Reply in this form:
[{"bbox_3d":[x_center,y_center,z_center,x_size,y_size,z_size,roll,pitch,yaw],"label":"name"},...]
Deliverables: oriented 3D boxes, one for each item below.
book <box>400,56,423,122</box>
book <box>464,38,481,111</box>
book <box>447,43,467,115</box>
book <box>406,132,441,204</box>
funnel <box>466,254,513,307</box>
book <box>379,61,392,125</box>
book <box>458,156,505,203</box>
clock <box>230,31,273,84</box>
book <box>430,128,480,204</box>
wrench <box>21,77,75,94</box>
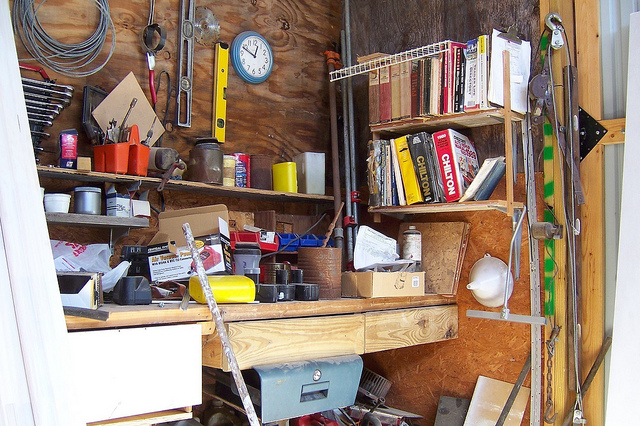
[{"bbox_3d":[0.517,-0.708,3.162,0.048,0.363,0.097,11,25,41],"label":"book"},{"bbox_3d":[0.807,-0.736,2.950,0.050,0.375,0.115,-3,3,-24],"label":"book"},{"bbox_3d":[0.750,-0.732,2.987,0.062,0.466,0.351,1,6,19],"label":"book"},{"bbox_3d":[0.589,-0.234,3.162,0.138,0.409,0.286,-1,-3,35],"label":"book"},{"bbox_3d":[0.948,0.380,3.077,0.188,0.295,0.226,0,4,-35],"label":"funnel"},{"bbox_3d":[0.393,-0.697,3.274,0.093,0.347,0.053,0,3,27],"label":"book"},{"bbox_3d":[0.884,-0.177,2.992,0.243,0.243,0.080,-1,3,11],"label":"book"},{"bbox_3d":[-0.436,-1.012,3.595,0.307,0.310,0.048,-1,1,-41],"label":"clock"},{"bbox_3d":[0.807,-0.260,3.226,0.132,0.396,0.418,-12,-8,33],"label":"book"},{"bbox_3d":[-1.366,-0.635,2.754,0.234,0.062,0.091,-4,4,-39],"label":"wrench"}]
